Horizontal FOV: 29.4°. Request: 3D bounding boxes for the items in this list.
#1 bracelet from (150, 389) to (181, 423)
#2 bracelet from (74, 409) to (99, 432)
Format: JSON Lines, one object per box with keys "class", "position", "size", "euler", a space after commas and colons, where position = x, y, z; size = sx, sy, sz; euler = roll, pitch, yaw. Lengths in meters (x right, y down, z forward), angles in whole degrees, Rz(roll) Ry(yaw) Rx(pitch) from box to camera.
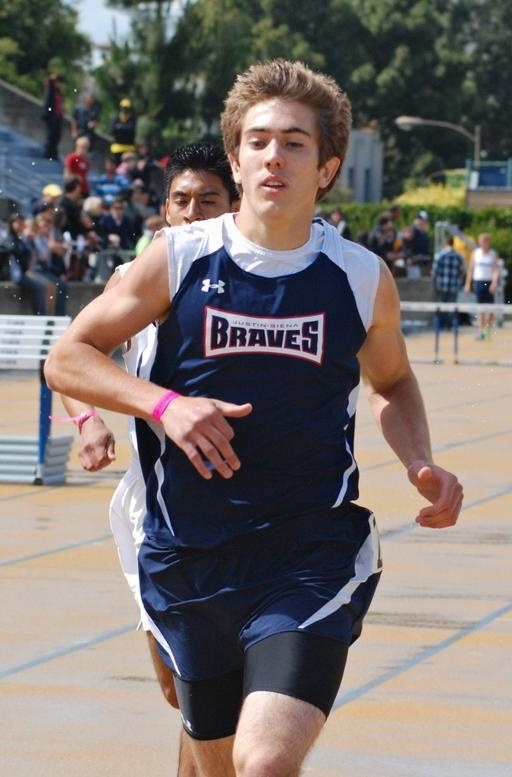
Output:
{"class": "bracelet", "position": [-0.155, 0.032, 1.609], "size": [0.012, 0.052, 0.039], "euler": [52, 19, 14]}
{"class": "bracelet", "position": [-0.404, 0.079, 2.266], "size": [0.043, 0.055, 0.028], "euler": [8, 45, -47]}
